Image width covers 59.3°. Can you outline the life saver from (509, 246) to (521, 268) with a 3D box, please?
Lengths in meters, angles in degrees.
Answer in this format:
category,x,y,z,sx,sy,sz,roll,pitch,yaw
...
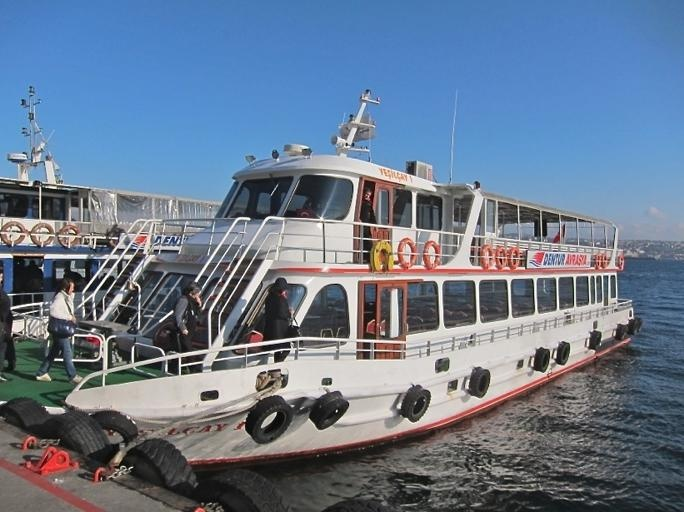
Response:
category,x,y,z,sx,sy,sz,roll,pitch,yaw
life saver,4.693,0.052,16.550,0.163,0.477,0.599,7,-3,40

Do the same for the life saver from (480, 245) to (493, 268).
category,x,y,z,sx,sy,sz,roll,pitch,yaw
life saver,3.750,0.007,15.682,0.159,0.483,0.566,4,-10,27

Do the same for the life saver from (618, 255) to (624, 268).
category,x,y,z,sx,sy,sz,roll,pitch,yaw
life saver,11.103,0.203,24.111,0.426,0.479,0.212,8,-5,-41

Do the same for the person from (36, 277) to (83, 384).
category,x,y,z,sx,sy,sz,roll,pitch,yaw
person,-5.343,1.409,11.605,0.890,1.574,0.494,3,-4,28

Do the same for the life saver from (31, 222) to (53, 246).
category,x,y,z,sx,sy,sz,roll,pitch,yaw
life saver,-8.986,-0.677,18.146,0.232,0.696,0.873,1,-5,44

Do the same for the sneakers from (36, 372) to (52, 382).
category,x,y,z,sx,sy,sz,roll,pitch,yaw
sneakers,-5.684,2.307,11.539,0.145,0.111,0.286,20,8,27

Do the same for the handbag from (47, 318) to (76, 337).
category,x,y,z,sx,sy,sz,roll,pitch,yaw
handbag,-5.297,1.378,11.559,0.646,0.369,0.381,9,-16,-42

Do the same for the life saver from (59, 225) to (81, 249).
category,x,y,z,sx,sy,sz,roll,pitch,yaw
life saver,-8.514,-0.628,18.917,0.859,0.654,0.229,8,-4,-43

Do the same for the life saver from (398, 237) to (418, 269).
category,x,y,z,sx,sy,sz,roll,pitch,yaw
life saver,1.433,-0.075,13.504,0.188,0.573,0.710,6,7,42

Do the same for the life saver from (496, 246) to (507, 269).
category,x,y,z,sx,sy,sz,roll,pitch,yaw
life saver,4.257,0.024,16.147,0.683,0.659,0.134,-5,4,-42

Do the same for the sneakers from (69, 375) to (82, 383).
category,x,y,z,sx,sy,sz,roll,pitch,yaw
sneakers,-5.015,2.338,11.464,0.309,0.112,0.176,1,-3,42

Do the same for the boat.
category,x,y,z,sx,sy,sz,roll,pitch,yaw
boat,0.151,0.940,16.897,19.753,6.606,6.941,2,-3,-41
